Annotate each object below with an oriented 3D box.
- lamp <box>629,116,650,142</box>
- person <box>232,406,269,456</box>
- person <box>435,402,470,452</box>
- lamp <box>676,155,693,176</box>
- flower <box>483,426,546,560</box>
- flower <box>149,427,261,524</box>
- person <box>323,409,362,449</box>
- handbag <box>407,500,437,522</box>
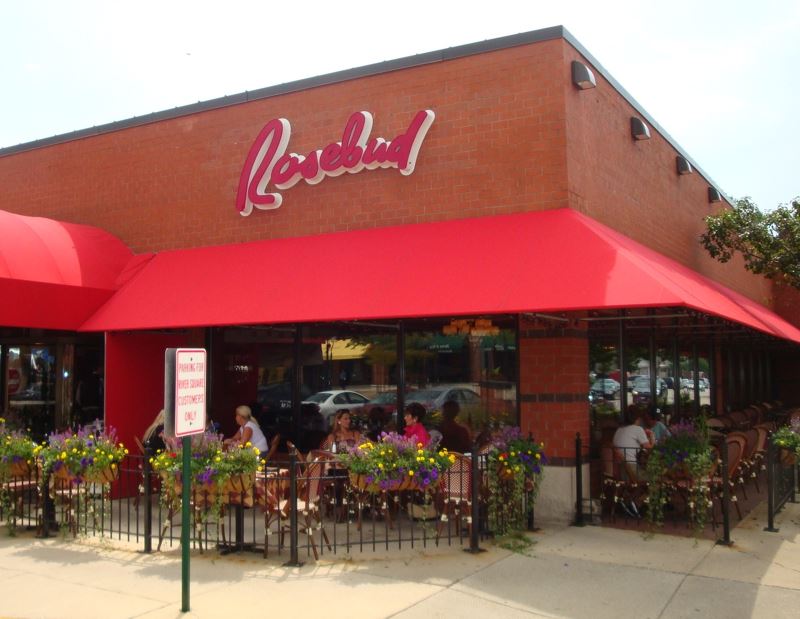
[{"bbox_3d":[4.715,-3.572,15.843,0.300,0.457,0.520,1,3,29],"label":"lamp"},{"bbox_3d":[-2.525,2.186,13.357,0.580,1.075,0.491,-7,6,-4],"label":"person"},{"bbox_3d":[0.855,2.049,13.415,0.626,1.072,0.696,-2,4,1],"label":"person"},{"bbox_3d":[6.716,-3.425,19.032,0.243,0.520,0.714,1,3,31],"label":"lamp"},{"bbox_3d":[1.582,2.579,11.641,0.935,1.543,0.450,7,2,-27],"label":"flower"},{"bbox_3d":[-2.656,2.339,11.088,1.505,1.272,0.596,1,2,17],"label":"flower"},{"bbox_3d":[-0.929,1.995,13.351,0.438,0.353,1.103,-7,27,-6],"label":"person"},{"bbox_3d":[0.334,3.136,12.302,0.450,0.436,0.485,4,-1,2],"label":"handbag"}]
